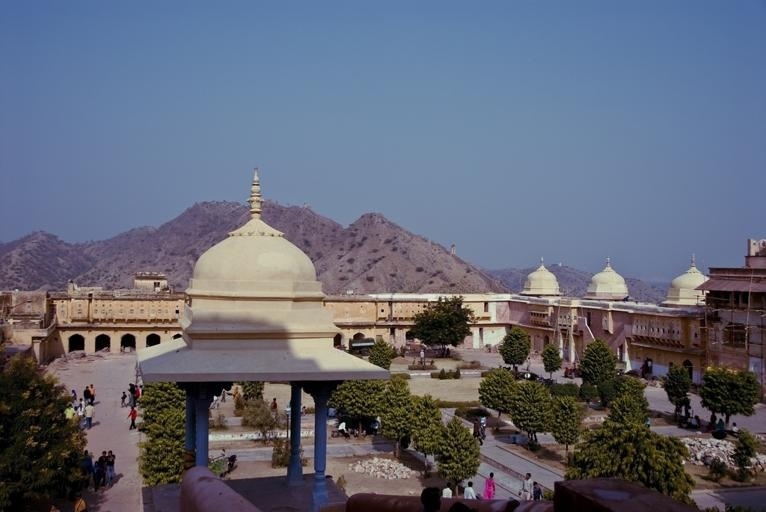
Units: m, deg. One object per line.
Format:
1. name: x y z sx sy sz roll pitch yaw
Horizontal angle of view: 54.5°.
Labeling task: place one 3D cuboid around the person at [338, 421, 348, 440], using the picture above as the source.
1. person: -2.308 10.076 43.476 0.613 0.870 1.014 0 -7 -3

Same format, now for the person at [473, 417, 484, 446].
1. person: 5.597 10.207 43.352 0.599 1.288 1.744 -2 -8 7

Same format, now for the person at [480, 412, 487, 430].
1. person: 6.174 10.130 45.724 0.445 0.729 0.775 4 26 -3

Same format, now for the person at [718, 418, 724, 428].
1. person: 19.884 9.843 43.725 0.362 0.509 0.834 -4 -8 24
